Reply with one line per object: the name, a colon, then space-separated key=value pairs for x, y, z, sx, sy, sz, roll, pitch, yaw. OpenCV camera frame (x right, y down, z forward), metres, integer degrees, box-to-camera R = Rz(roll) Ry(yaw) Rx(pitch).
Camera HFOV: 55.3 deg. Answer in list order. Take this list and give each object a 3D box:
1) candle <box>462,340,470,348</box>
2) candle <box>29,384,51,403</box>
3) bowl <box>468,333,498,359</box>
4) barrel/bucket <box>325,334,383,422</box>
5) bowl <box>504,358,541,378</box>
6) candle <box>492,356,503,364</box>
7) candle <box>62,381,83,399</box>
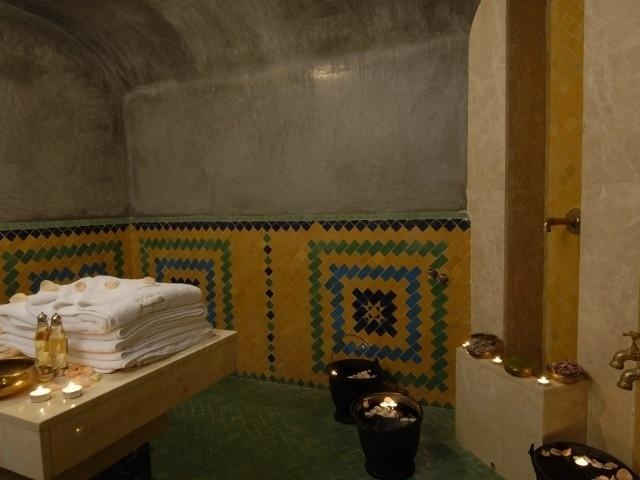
candle: x=0.895 y=0.630 z=3.687 sx=0.040 sy=0.010 sz=0.040 roll=-13 pitch=11 yaw=-43
candle: x=-1.148 y=0.629 z=2.500 sx=0.085 sy=0.040 sz=0.059 roll=-13 pitch=18 yaw=-38
bowl: x=0.970 y=0.613 z=3.572 sx=0.135 sy=0.059 sz=0.143 roll=-8 pitch=12 yaw=2
barrel/bucket: x=0.227 y=0.969 z=4.046 sx=0.342 sy=0.404 sz=0.318 roll=1 pitch=9 yaw=0
bowl: x=1.106 y=0.683 z=3.321 sx=0.119 sy=0.054 sz=0.122 roll=-2 pitch=7 yaw=0
candle: x=1.016 y=0.680 z=3.470 sx=0.045 sy=0.025 sz=0.054 roll=-2 pitch=14 yaw=-3
candle: x=-1.031 y=0.616 z=2.527 sx=0.075 sy=0.036 sz=0.097 roll=-6 pitch=15 yaw=-18
